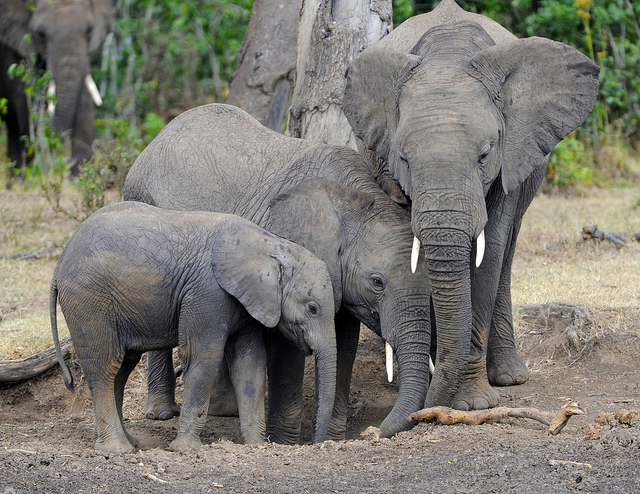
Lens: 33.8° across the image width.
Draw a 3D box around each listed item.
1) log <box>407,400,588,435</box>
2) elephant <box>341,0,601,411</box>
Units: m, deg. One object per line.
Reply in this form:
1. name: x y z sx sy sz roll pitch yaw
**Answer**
1. log: 1.142 1.105 6.787 0.860 0.152 0.160 -6 -2 7
2. elephant: 1.020 -0.299 7.320 1.344 2.823 0.953 -1 7 -30
